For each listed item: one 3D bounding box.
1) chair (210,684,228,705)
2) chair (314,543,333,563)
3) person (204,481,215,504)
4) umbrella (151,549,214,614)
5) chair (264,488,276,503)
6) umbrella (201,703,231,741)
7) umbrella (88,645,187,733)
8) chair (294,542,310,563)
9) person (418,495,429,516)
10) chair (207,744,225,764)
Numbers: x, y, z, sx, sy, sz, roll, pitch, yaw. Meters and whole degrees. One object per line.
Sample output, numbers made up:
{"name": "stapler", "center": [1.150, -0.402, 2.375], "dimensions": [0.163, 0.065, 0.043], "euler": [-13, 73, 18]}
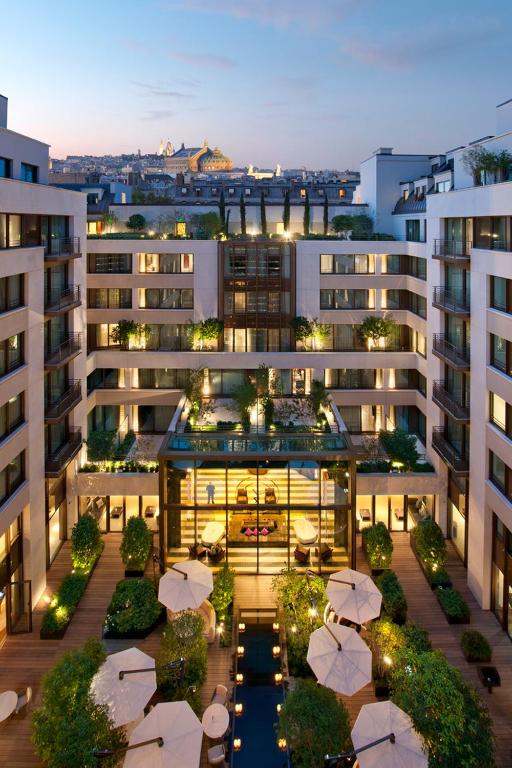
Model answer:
{"name": "chair", "center": [-1.155, 9.971, 20.019], "dimensions": [0.366, 0.650, 0.514], "euler": [7, 22, 15]}
{"name": "chair", "center": [3.053, 7.519, 28.379], "dimensions": [0.705, 0.863, 0.673], "euler": [2, 14, 14]}
{"name": "person", "center": [-1.985, 4.828, 28.021], "dimensions": [0.446, 1.048, 0.137], "euler": [-3, 11, -6]}
{"name": "umbrella", "center": [-2.597, 6.924, 22.986], "dimensions": [1.521, 1.992, 1.871], "euler": [-20, -7, -18]}
{"name": "chair", "center": [0.656, 4.924, 28.139], "dimensions": [0.484, 0.810, 0.395], "euler": [0, 7, -4]}
{"name": "umbrella", "center": [-1.178, 10.093, 18.473], "dimensions": [0.777, 0.771, 1.336], "euler": [-3, 15, -7]}
{"name": "umbrella", "center": [-3.729, 8.777, 17.806], "dimensions": [1.807, 1.384, 1.999], "euler": [-10, -13, -16]}
{"name": "chair", "center": [2.068, 7.664, 28.336], "dimensions": [0.651, 0.991, 0.712], "euler": [6, 15, 24]}
{"name": "person", "center": [8.993, 6.507, 33.806], "dimensions": [0.305, 0.482, 1.222], "euler": [4, 37, 8]}
{"name": "chair", "center": [-1.095, 10.432, 17.771], "dimensions": [0.277, 0.442, 0.410], "euler": [1, -6, -9]}
